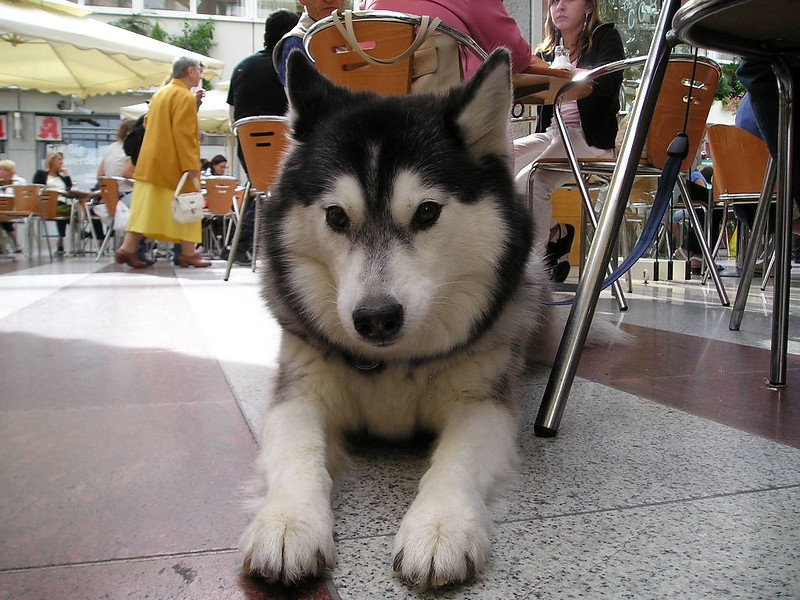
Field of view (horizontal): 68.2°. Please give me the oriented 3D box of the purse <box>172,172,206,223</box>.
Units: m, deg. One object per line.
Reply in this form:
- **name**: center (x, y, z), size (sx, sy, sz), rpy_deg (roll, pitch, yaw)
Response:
- **purse**: center (-2.670, -1.314, 7.510), size (0.349, 0.634, 0.173), rpy_deg (-20, 37, -37)

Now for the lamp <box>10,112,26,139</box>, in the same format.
- **lamp**: center (-13.332, -6.041, 20.693), size (0.466, 0.903, 0.234), rpy_deg (-8, 13, -33)

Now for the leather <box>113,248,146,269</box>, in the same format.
- **leather**: center (-3.706, -0.575, 8.149), size (0.192, 0.252, 0.536), rpy_deg (24, 9, 25)

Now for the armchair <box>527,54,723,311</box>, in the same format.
- **armchair**: center (1.747, -0.689, 4.331), size (1.344, 1.760, 1.177), rpy_deg (-6, -3, -17)

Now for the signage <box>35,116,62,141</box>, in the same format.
- **signage**: center (-12.540, -6.130, 21.122), size (0.854, 0.919, 0.093), rpy_deg (-2, 7, -21)

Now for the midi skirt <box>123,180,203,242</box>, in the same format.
- **midi skirt**: center (-3.031, -1.140, 7.678), size (0.894, 0.913, 0.383), rpy_deg (2, 12, -34)

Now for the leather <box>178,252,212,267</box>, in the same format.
- **leather**: center (-3.086, -0.609, 8.873), size (0.514, 0.238, 0.211), rpy_deg (-3, 12, -15)
